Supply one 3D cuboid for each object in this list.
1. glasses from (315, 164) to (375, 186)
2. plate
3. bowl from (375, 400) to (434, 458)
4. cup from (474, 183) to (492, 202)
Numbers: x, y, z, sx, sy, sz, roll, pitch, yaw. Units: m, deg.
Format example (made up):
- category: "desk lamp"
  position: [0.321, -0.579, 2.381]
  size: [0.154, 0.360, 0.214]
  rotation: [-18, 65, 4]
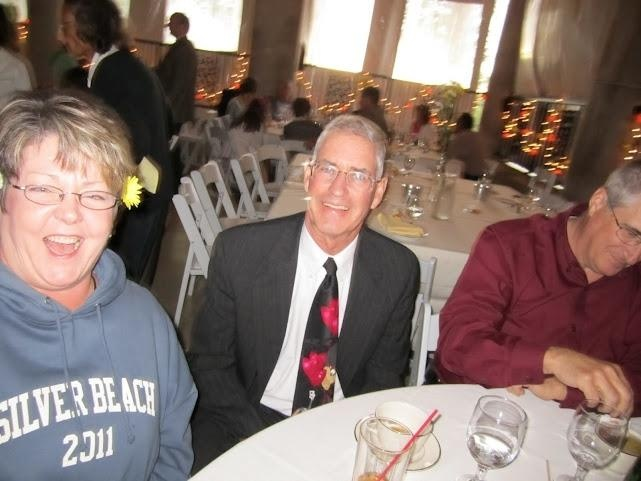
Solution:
- category: "glasses"
  position: [0.104, -0.282, 1.934]
  size: [0.263, 0.073, 0.059]
  rotation: [8, 20, 1]
- category: "plate"
  position: [0.267, 0.609, 1.395]
  size: [0.185, 0.048, 0.186]
  rotation: [17, 21, 35]
- category: "bowl"
  position: [0.255, 0.562, 1.391]
  size: [0.146, 0.109, 0.147]
  rotation: [3, 18, -1]
- category: "cup"
  position: [1.586, -0.485, 4.439]
  size: [0.158, 0.185, 0.164]
  rotation: [3, 27, -2]
